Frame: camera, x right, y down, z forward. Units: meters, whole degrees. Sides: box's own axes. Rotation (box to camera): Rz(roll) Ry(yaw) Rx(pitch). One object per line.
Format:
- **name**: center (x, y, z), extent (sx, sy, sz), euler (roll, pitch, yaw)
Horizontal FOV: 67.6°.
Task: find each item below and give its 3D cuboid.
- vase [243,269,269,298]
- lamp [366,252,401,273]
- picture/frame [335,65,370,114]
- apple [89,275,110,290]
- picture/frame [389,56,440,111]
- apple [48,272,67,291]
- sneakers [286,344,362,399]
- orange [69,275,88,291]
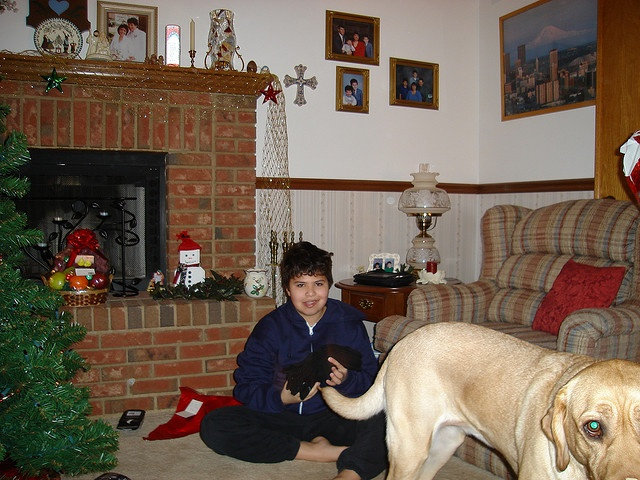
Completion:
- **vase**: center (-0.397, 0.271, 3.027), extent (0.161, 0.195, 0.161), euler (6, -8, -40)
- **lamp**: center (0.483, 0.171, 3.606), extent (0.152, 0.165, 0.041), euler (2, -24, 0)
- **picture/frame**: center (0.259, -1.253, 3.980), extent (0.398, 0.488, 0.050), euler (0, 1, -25)
- **apple**: center (-1.305, 0.239, 2.853), extent (0.074, 0.091, 0.084), euler (7, 11, -1)
- **picture/frame**: center (0.798, -1.364, 4.173), extent (0.486, 0.426, 0.049), euler (1, -1, -20)
- **apple**: center (-1.525, 0.247, 2.839), extent (0.106, 0.113, 0.060), euler (3, -12, 7)
- **sneakers**: center (0.014, 0.541, 2.180), extent (0.213, 0.128, 0.271), euler (7, 14, 36)
- **orange**: center (-1.391, 0.249, 2.781), extent (0.078, 0.080, 0.082), euler (-2, -12, 13)
